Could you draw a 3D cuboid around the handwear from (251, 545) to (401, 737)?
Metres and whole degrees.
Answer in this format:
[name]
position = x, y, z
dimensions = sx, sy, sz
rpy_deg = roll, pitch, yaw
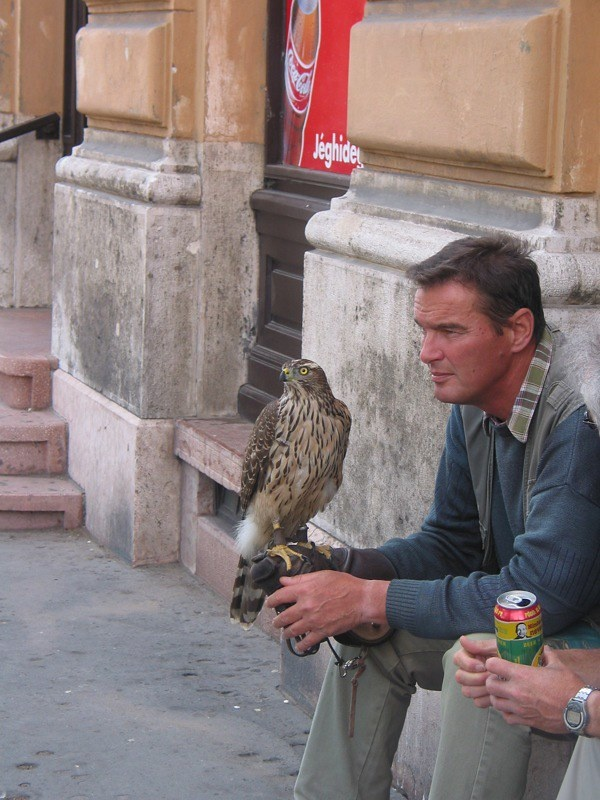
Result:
[handwear]
position = 0.028, 0.551, 3.066
dimensions = 0.308, 0.451, 0.191
rpy_deg = 1, -6, -24
